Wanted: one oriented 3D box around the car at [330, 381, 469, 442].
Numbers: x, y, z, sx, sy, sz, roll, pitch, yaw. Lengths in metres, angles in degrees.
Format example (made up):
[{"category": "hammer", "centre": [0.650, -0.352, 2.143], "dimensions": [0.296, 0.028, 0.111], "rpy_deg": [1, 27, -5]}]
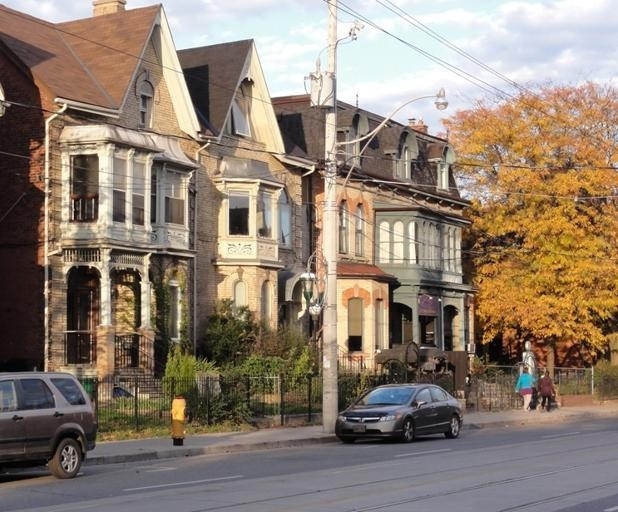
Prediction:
[{"category": "car", "centre": [2.728, 4.712, 35.932], "dimensions": [3.657, 1.713, 1.758], "rpy_deg": [8, -13, -43]}]
